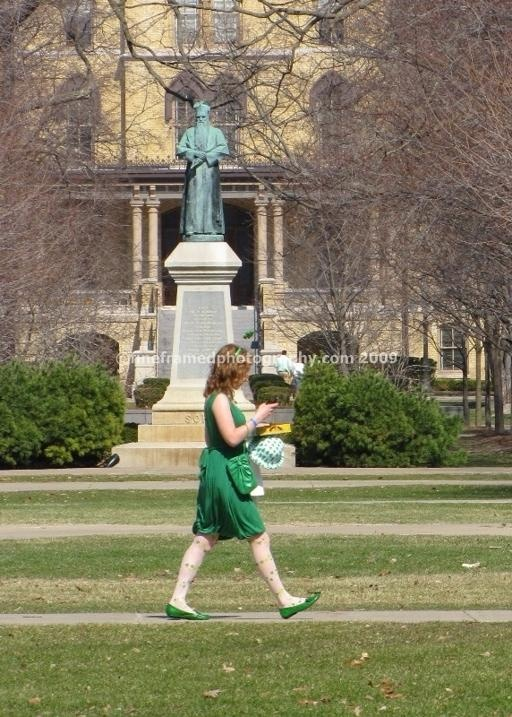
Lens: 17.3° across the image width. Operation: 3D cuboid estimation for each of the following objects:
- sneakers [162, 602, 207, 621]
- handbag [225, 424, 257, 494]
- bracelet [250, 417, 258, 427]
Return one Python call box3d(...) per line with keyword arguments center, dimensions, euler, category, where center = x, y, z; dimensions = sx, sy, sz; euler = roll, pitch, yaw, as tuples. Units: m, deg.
box3d(center=(-0.623, 2.197, 14.660), dimensions=(0.292, 0.099, 0.161), euler=(0, -3, -5), category="sneakers")
box3d(center=(-0.145, 0.961, 14.646), dimensions=(0.276, 0.442, 0.143), euler=(7, -4, -1), category="handbag")
box3d(center=(-0.034, 0.540, 14.623), dimensions=(0.058, 0.066, 0.027), euler=(18, 47, 43), category="bracelet")
